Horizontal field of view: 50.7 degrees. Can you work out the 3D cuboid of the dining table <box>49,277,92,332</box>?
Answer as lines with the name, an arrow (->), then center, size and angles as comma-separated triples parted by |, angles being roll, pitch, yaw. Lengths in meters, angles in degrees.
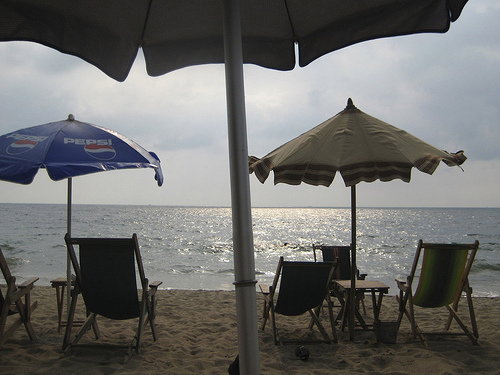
dining table -> -2.921, 1.893, 8.564 | 0.662, 0.755, 0.692 | -16, -14, 38

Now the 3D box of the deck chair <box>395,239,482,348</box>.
deck chair -> 3.024, 1.661, 8.602 | 0.943, 1.666, 1.531 | 2, -3, -1

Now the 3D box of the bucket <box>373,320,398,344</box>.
bucket -> 2.200, 2.291, 8.541 | 0.403, 0.414, 0.539 | -5, 5, 1

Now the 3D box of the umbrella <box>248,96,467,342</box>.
umbrella -> 1.711, 0.375, 8.582 | 3.016, 3.543, 3.210 | -3, 8, 9

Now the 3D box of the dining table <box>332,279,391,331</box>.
dining table -> 1.785, 1.929, 8.884 | 0.918, 0.684, 0.926 | 8, -11, 31
